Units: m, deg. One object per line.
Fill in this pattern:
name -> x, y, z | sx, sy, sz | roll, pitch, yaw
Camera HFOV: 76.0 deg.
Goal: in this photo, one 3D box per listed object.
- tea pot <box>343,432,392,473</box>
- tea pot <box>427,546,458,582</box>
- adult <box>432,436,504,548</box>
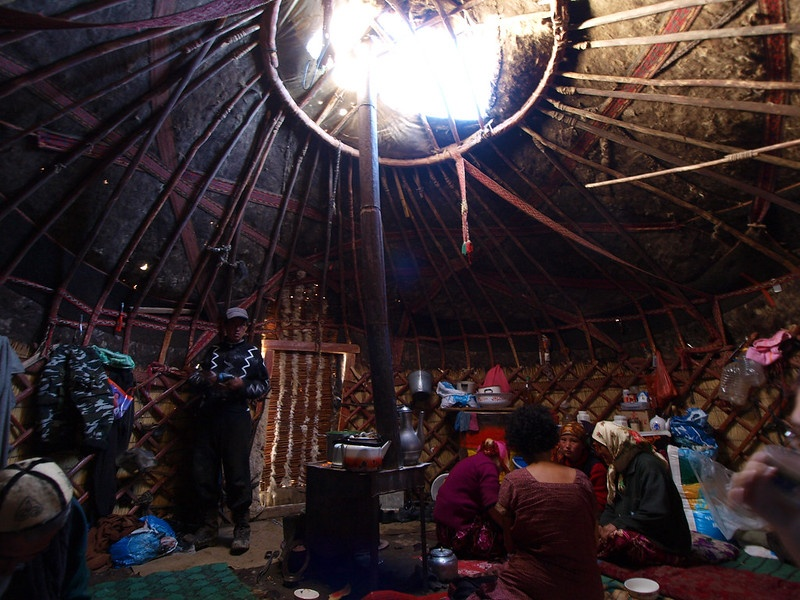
tea pot -> -0.200, 0.959, 3.146 | 0.261, 0.122, 0.177 | 6, -17, -16
tea pot -> 0.274, 1.742, 3.330 | 0.176, 0.144, 0.159 | 0, -22, -1
adult -> 0.617, 1.491, 3.913 | 0.672, 0.754, 0.651 | 3, -13, 12
